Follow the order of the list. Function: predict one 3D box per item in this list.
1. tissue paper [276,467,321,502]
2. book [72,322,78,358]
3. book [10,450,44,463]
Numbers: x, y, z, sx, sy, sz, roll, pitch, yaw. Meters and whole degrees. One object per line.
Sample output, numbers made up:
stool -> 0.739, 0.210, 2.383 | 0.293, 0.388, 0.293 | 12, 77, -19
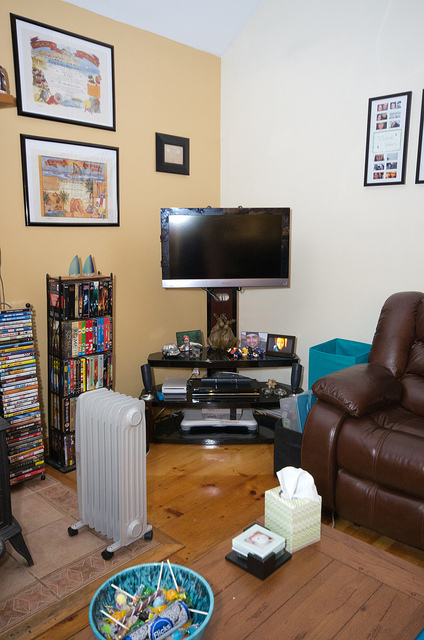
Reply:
tissue paper -> 0.245, 0.468, 1.326 | 0.118, 0.093, 0.064 | -2, 6, -13
book -> -0.744, 0.102, 2.532 | 0.021, 0.185, 0.033 | 5, 8, 44
book -> -0.938, 0.677, 2.391 | 0.026, 0.030, 0.193 | -5, 5, 42
